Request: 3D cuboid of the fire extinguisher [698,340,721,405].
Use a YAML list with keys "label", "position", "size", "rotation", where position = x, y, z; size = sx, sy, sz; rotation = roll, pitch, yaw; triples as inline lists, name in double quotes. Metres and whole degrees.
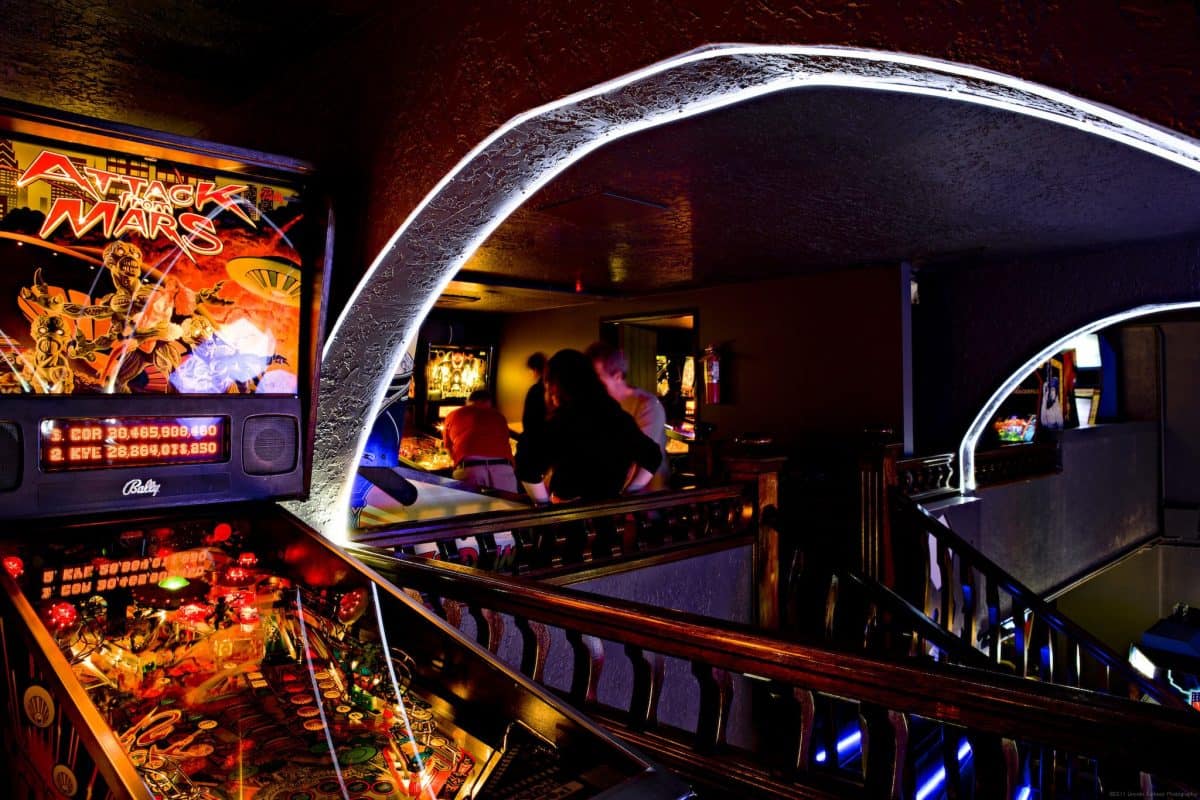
- label: "fire extinguisher"
  position: [1.083, -0.234, 7.947]
  size: [0.232, 0.557, 0.121]
  rotation: [11, 7, 44]
